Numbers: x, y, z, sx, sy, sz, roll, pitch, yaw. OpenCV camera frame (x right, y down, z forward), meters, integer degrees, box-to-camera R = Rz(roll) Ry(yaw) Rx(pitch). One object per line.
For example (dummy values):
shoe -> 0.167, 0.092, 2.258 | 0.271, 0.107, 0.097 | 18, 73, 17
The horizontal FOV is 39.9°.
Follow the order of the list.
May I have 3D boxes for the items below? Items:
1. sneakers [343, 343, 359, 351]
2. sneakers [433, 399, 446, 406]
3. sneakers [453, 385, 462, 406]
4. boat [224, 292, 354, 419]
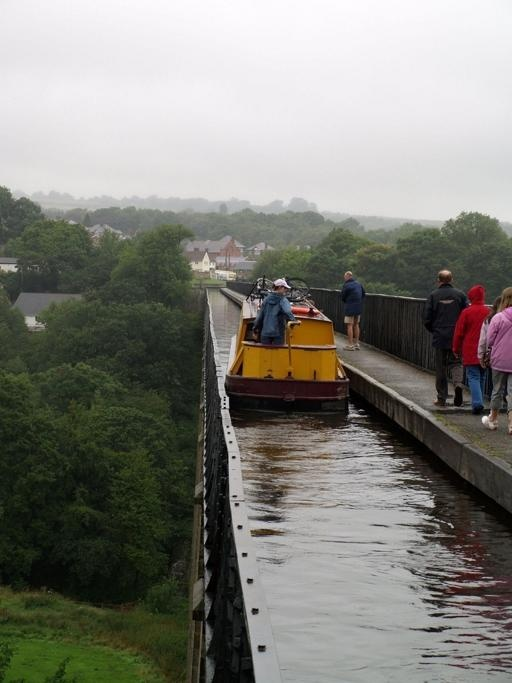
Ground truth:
sneakers -> 2.297, 0.118, 17.028 | 0.421, 0.169, 0.150 | 0, 5, 14
sneakers -> 2.324, 0.755, 8.853 | 0.106, 0.094, 0.232 | 0, -3, 5
sneakers -> 2.511, 0.663, 8.709 | 0.105, 0.253, 0.114 | 0, 12, 11
boat -> 0.478, 0.299, 10.977 | 1.813, 1.421, 1.792 | 1, 3, -3
